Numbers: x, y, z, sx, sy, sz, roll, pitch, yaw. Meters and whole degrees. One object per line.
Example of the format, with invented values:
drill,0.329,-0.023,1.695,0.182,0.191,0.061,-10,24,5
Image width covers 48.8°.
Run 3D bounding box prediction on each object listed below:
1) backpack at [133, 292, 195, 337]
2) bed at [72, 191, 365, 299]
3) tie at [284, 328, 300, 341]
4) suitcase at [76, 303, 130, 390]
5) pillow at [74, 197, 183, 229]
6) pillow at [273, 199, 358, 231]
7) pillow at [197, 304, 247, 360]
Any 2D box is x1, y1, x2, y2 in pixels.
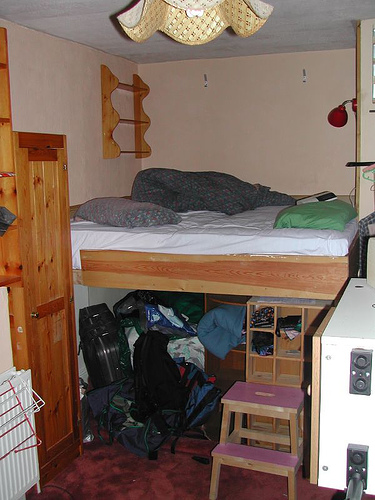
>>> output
backpack,-0.167,0.487,2.928,0.361,0.120,0.224,38,31,4
bed,0.170,-0.019,2.621,1.860,0.674,1.055,2,7,28
tie,0.599,0.474,2.382,0.066,0.062,0.017,13,-15,0
suitcase,-0.590,0.680,2.926,0.265,0.439,0.472,-12,29,-12
pillow,-0.485,-0.264,2.964,0.707,0.236,0.835,-2,2,-20
pillow,0.799,-0.225,2.585,0.386,0.172,0.596,2,7,26
pillow,0.227,0.512,2.717,0.315,0.335,0.121,45,20,5
